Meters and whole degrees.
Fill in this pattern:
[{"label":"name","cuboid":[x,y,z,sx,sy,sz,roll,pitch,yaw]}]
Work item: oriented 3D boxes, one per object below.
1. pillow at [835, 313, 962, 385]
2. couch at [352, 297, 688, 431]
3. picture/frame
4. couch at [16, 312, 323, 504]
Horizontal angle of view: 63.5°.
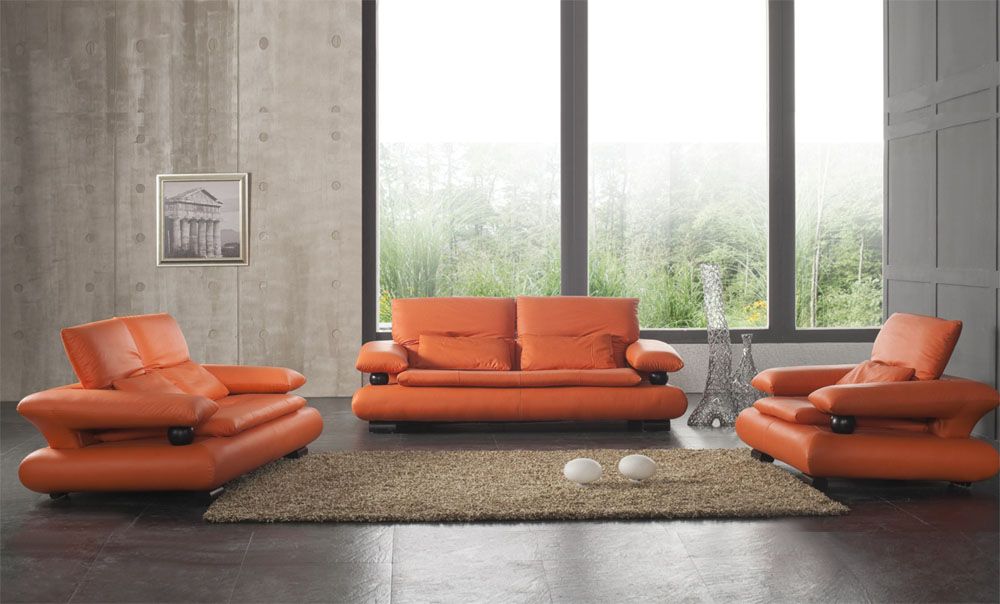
[{"label":"pillow","cuboid":[3.284,0.399,6.538,0.546,0.640,0.768,19,-8,-34]},{"label":"couch","cuboid":[0.160,0.600,8.074,3.031,1.173,0.979,-1,9,0]},{"label":"picture/frame","cuboid":[-3.351,-0.949,9.207,1.487,1.076,0.096,0,1,-1]},{"label":"couch","cuboid":[-2.631,0.807,6.826,1.808,0.993,2.063,6,10,18]}]
